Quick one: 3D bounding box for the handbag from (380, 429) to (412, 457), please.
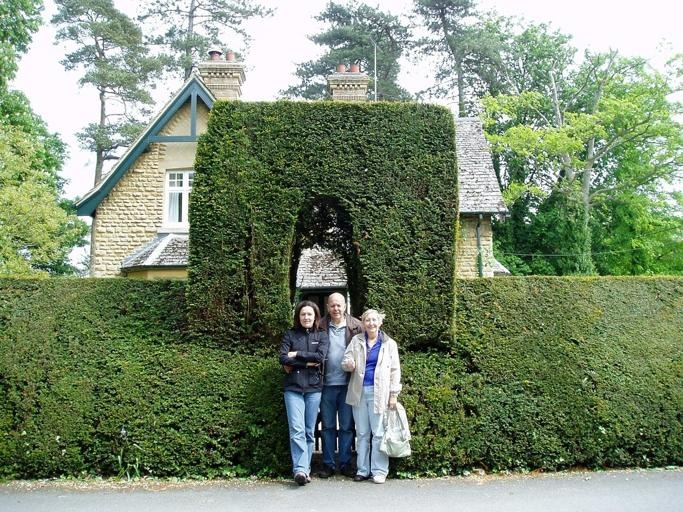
[{"bbox_3d":[0.834,3.045,11.063,0.619,0.624,0.355,2,-15,-2],"label":"handbag"}]

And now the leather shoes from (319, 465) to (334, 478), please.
[{"bbox_3d":[-0.250,3.580,11.200,0.115,0.150,0.328,-2,-21,10],"label":"leather shoes"}]

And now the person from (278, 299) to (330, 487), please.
[{"bbox_3d":[-0.651,2.243,11.000,0.708,2.895,1.171,2,11,12],"label":"person"}]

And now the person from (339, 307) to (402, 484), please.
[{"bbox_3d":[0.474,2.311,11.031,0.927,2.732,0.815,0,11,3],"label":"person"}]
